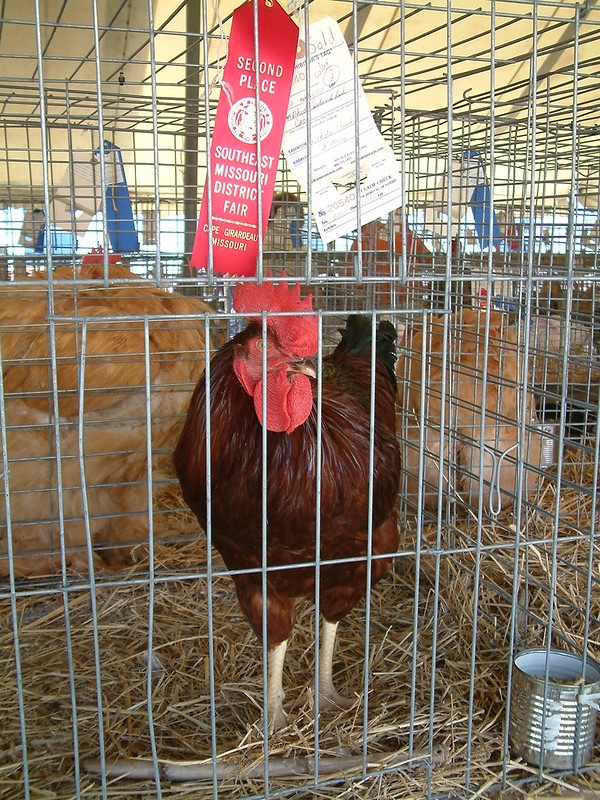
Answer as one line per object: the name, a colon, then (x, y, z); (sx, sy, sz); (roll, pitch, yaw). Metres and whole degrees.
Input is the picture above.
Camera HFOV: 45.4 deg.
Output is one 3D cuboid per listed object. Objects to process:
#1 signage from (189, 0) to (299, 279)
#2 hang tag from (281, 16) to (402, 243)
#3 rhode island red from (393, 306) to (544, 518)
signage: (-0.090, -0.398, 1.092); (0.160, 0.415, 0.160); (0, 7, 12)
hang tag: (0.064, -0.417, 1.218); (0.215, 0.367, 0.064); (-19, 16, -8)
rhode island red: (0.528, 0.047, 2.272); (0.440, 0.684, 0.717); (-4, 50, 12)
